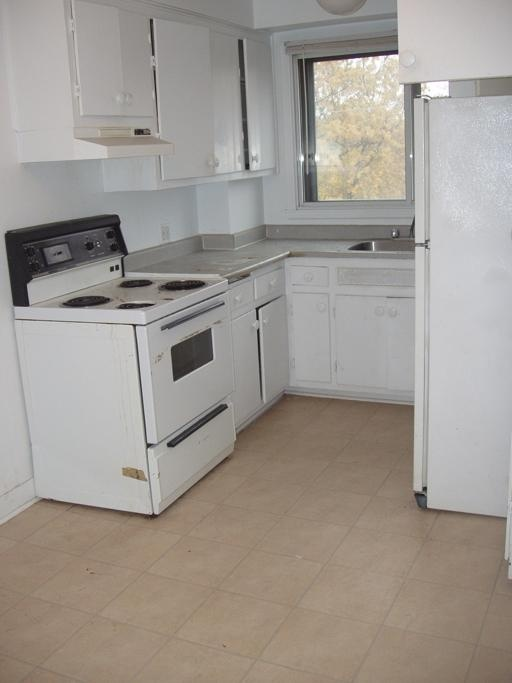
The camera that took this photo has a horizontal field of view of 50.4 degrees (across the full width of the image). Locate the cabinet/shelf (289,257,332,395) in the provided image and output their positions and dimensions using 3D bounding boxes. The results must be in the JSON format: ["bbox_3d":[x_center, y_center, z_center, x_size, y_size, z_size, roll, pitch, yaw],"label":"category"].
[{"bbox_3d":[0.388,-0.117,3.630,0.337,0.885,0.314,6,26,22],"label":"cabinet/shelf"}]

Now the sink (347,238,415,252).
[{"bbox_3d":[0.845,-0.645,3.607,0.386,0.095,0.340,0,8,20],"label":"sink"}]

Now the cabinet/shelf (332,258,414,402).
[{"bbox_3d":[0.807,-0.123,3.485,0.408,0.835,0.476,-11,12,-38],"label":"cabinet/shelf"}]
